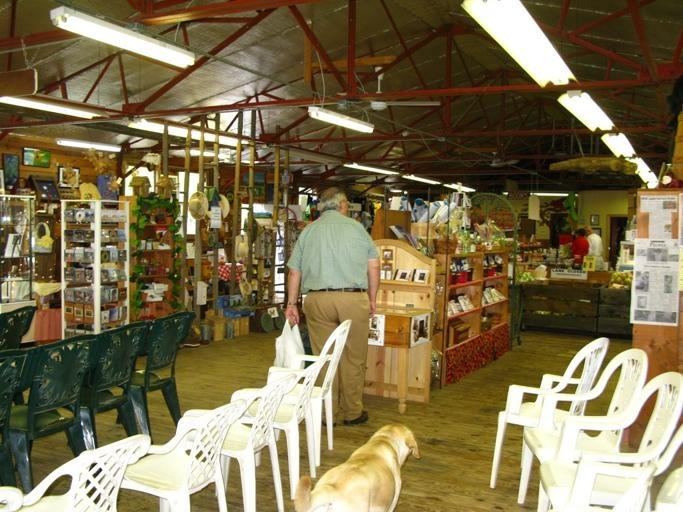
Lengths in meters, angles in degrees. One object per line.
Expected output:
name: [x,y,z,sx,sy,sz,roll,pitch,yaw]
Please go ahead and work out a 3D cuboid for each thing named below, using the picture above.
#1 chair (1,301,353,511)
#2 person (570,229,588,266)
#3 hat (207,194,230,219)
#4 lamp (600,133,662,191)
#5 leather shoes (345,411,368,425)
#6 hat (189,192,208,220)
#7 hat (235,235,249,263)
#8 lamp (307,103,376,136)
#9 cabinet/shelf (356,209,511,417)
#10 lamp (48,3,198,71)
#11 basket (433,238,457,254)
chair: [-1.273,1.167,4.216,1.169,0.727,1.530,1,4,30]
person: [5.213,-0.205,11.691,0.364,0.748,1.648,4,4,24]
hat: [-2.244,-0.922,9.832,0.355,0.447,1.240,1,4,-13]
lamp: [7.861,-2.592,14.478,5.179,0.808,0.287,19,25,-52]
leather shoes: [0.160,1.637,5.381,0.098,0.091,0.247,9,14,39]
hat: [-2.391,-0.849,9.098,0.238,0.481,0.405,5,5,35]
hat: [-1.930,-0.172,10.521,0.242,0.487,0.421,1,4,-7]
lamp: [0.003,-2.294,8.781,0.577,0.338,1.868,3,4,19]
cabinet/shelf: [1.100,0.745,6.538,0.894,1.626,2.703,1,2,26]
lamp: [-2.677,-2.705,6.578,0.293,0.125,1.980,-2,-7,35]
basket: [1.299,-0.113,6.716,0.229,0.117,0.210,1,-2,4]
